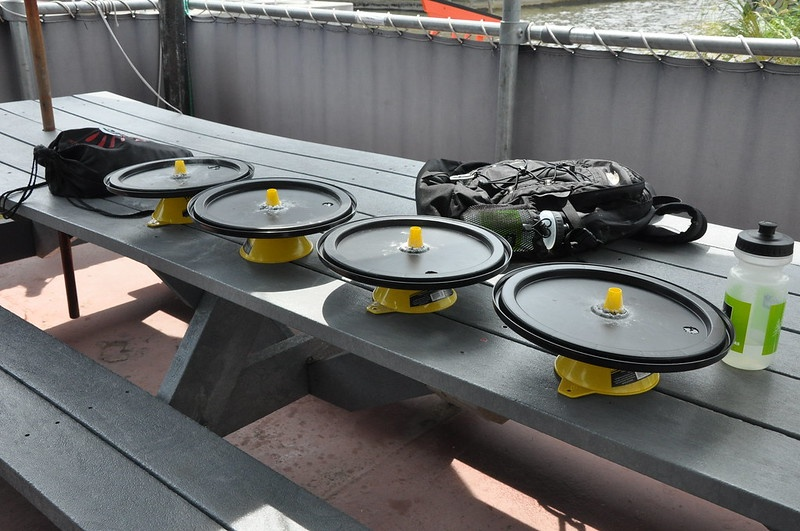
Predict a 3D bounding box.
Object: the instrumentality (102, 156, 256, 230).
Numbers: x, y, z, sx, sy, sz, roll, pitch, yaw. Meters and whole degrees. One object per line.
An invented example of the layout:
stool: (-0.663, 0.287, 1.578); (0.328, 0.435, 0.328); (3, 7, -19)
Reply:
instrumentality: (-0.652, -0.257, 1.603); (0.323, 0.110, 0.301); (-13, 27, -30)

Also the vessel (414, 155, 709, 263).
vessel: (0.414, -0.184, 1.519); (0.609, 0.170, 0.416); (-2, 21, -1)

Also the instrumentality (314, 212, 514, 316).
instrumentality: (0.031, -0.036, 1.210); (0.417, 0.095, 0.317); (3, 23, 8)

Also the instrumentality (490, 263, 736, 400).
instrumentality: (0.384, 0.090, 1.019); (0.415, 0.099, 0.307); (4, 23, 10)

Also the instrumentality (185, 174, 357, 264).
instrumentality: (-0.321, -0.142, 1.387); (0.314, 0.112, 0.291); (-13, 29, -28)
